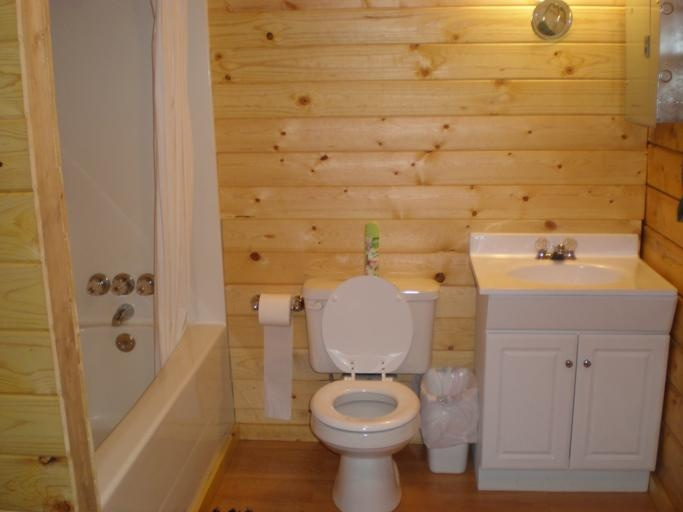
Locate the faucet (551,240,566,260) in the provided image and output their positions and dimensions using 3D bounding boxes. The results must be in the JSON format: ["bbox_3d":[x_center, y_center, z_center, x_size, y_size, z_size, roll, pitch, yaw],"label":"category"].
[{"bbox_3d":[1.062,-0.031,2.791,0.053,0.091,0.033,12,10,15],"label":"faucet"}]

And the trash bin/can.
[{"bbox_3d":[0.541,0.842,2.912,0.338,0.469,0.336,-6,18,-14],"label":"trash bin/can"}]

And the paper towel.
[{"bbox_3d":[-0.339,0.529,2.954,0.167,0.679,0.147,0,7,-2],"label":"paper towel"}]
